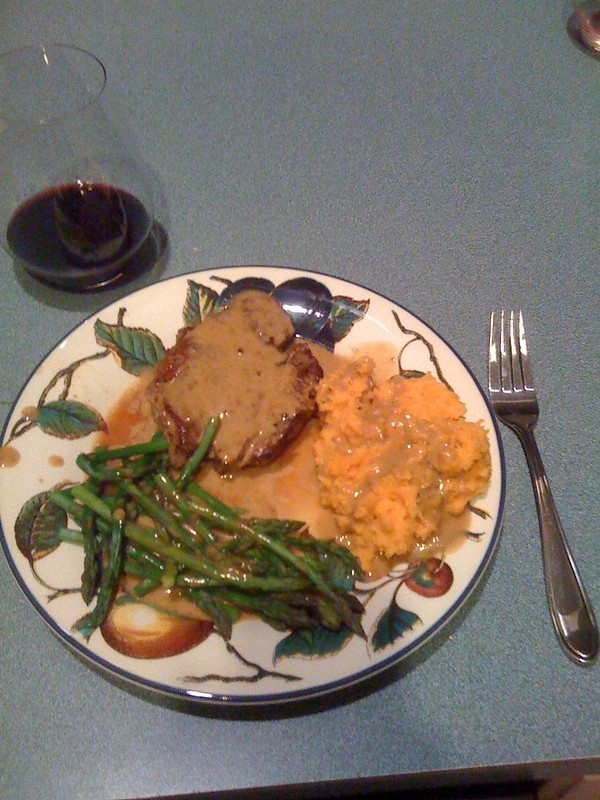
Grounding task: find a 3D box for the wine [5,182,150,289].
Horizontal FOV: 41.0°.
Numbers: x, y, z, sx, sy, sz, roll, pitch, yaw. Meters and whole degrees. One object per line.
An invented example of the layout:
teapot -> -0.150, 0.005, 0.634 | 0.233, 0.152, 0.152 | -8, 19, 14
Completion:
wine -> -0.777, -0.564, 2.861 | 0.407, 0.128, 0.347 | 7, 59, -2
